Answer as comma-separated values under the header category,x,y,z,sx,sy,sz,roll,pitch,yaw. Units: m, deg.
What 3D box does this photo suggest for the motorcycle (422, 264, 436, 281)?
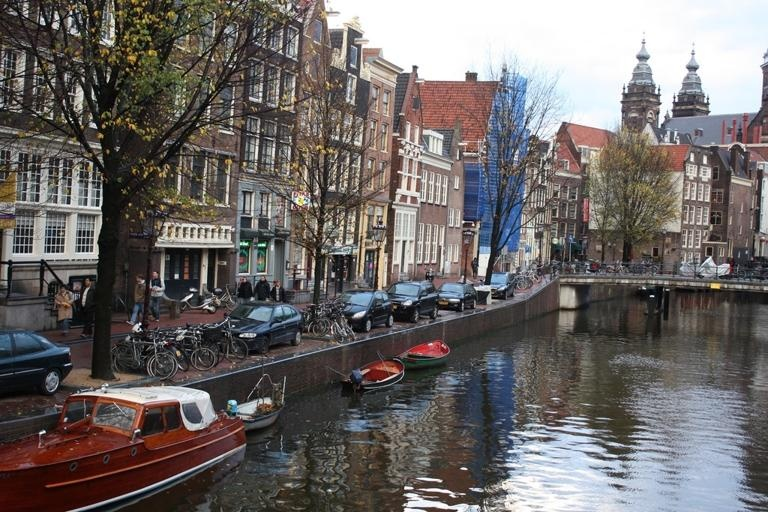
category,x,y,z,sx,sy,sz,roll,pitch,yaw
motorcycle,3.905,1.403,60.582,1.058,1.122,1.692,0,-6,2

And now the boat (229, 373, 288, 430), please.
category,x,y,z,sx,sy,sz,roll,pitch,yaw
boat,-4.447,5.337,25.935,0.943,1.377,2.306,11,12,13

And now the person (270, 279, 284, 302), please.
category,x,y,z,sx,sy,sz,roll,pitch,yaw
person,-6.065,1.918,40.550,0.719,1.179,1.634,3,4,-10

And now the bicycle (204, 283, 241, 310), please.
category,x,y,z,sx,sy,sz,roll,pitch,yaw
bicycle,-8.903,2.272,39.113,1.611,1.013,0.994,-4,5,-15

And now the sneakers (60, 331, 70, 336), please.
category,x,y,z,sx,sy,sz,roll,pitch,yaw
sneakers,-13.051,3.162,29.190,0.185,0.219,0.511,2,-6,-17

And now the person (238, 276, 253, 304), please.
category,x,y,z,sx,sy,sz,roll,pitch,yaw
person,-7.606,1.831,39.246,0.827,1.395,2.086,3,4,-12

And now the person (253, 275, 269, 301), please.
category,x,y,z,sx,sy,sz,roll,pitch,yaw
person,-6.733,1.796,39.875,0.767,1.120,1.540,3,4,-7

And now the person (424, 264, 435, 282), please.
category,x,y,z,sx,sy,sz,roll,pitch,yaw
person,4.010,1.392,59.817,1.064,1.167,1.763,0,-5,2

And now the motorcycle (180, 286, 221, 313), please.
category,x,y,z,sx,sy,sz,roll,pitch,yaw
motorcycle,-9.827,2.295,38.485,1.920,1.166,3.115,3,4,-12
